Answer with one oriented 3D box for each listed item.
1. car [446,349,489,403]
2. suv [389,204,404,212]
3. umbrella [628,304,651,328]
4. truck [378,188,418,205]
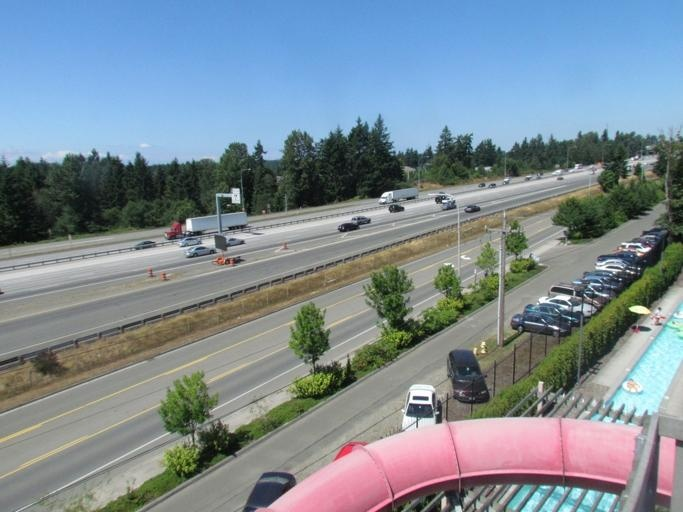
[{"bbox_3d":[8.040,7.602,38.381,2.148,1.625,5.268,-1,15,4],"label":"car"},{"bbox_3d":[9.608,-8.698,108.155,1.331,1.126,2.169,-3,4,-24],"label":"suv"},{"bbox_3d":[22.618,4.669,44.979,1.162,1.319,1.240,16,32,37],"label":"umbrella"},{"bbox_3d":[11.688,-12.085,120.104,9.873,1.755,1.722,-12,7,-41],"label":"truck"}]
